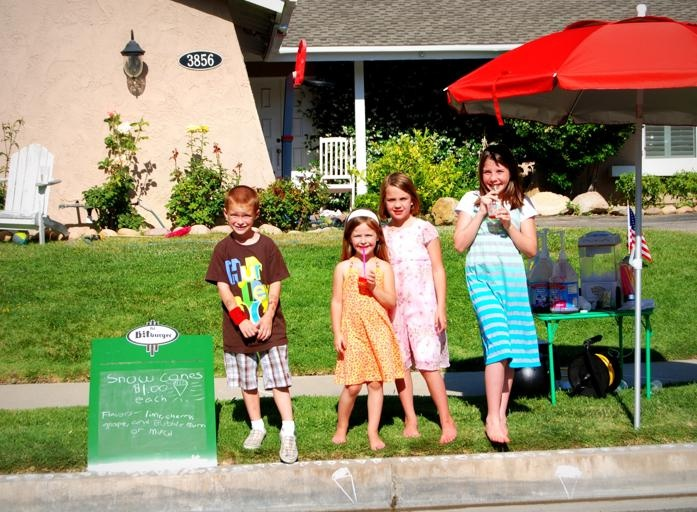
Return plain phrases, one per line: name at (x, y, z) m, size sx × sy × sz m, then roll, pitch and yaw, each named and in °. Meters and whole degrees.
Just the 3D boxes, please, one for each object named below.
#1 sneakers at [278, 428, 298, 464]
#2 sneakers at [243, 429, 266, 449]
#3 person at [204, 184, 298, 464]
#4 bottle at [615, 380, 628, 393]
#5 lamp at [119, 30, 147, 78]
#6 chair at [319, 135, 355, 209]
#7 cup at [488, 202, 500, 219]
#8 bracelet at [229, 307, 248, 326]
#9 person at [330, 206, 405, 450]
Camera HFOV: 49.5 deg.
sneakers at (-0.494, 1.557, 6.201) m, size 0.154 × 0.192 × 0.371 m, roll -2°, pitch 2°, yaw -6°
sneakers at (-0.797, 1.557, 6.415) m, size 0.083 × 0.094 × 0.228 m, roll 14°, pitch 21°, yaw 3°
person at (-0.778, 0.609, 6.431) m, size 0.816 × 2.036 × 0.599 m, roll -1°, pitch 2°, yaw 16°
bottle at (2.732, 1.310, 7.542) m, size 0.123 × 0.117 × 0.103 m, roll -3°, pitch 9°, yaw -21°
lamp at (-3.899, -3.557, 13.685) m, size 0.422 × 0.657 × 0.319 m, roll -3°, pitch 2°, yaw -16°
chair at (-0.218, -1.862, 16.619) m, size 0.799 × 1.622 × 1.760 m, roll -2°, pitch 2°, yaw 1°
cup at (1.244, -0.388, 6.446) m, size 0.104 × 0.188 × 0.113 m, roll 0°, pitch 0°, yaw 0°
bracelet at (-0.921, 0.500, 6.363) m, size 0.139 × 0.121 × 0.144 m, roll -32°, pitch 2°, yaw -36°
person at (0.147, 0.609, 6.411) m, size 0.618 × 1.994 × 0.393 m, roll -2°, pitch 2°, yaw 8°
